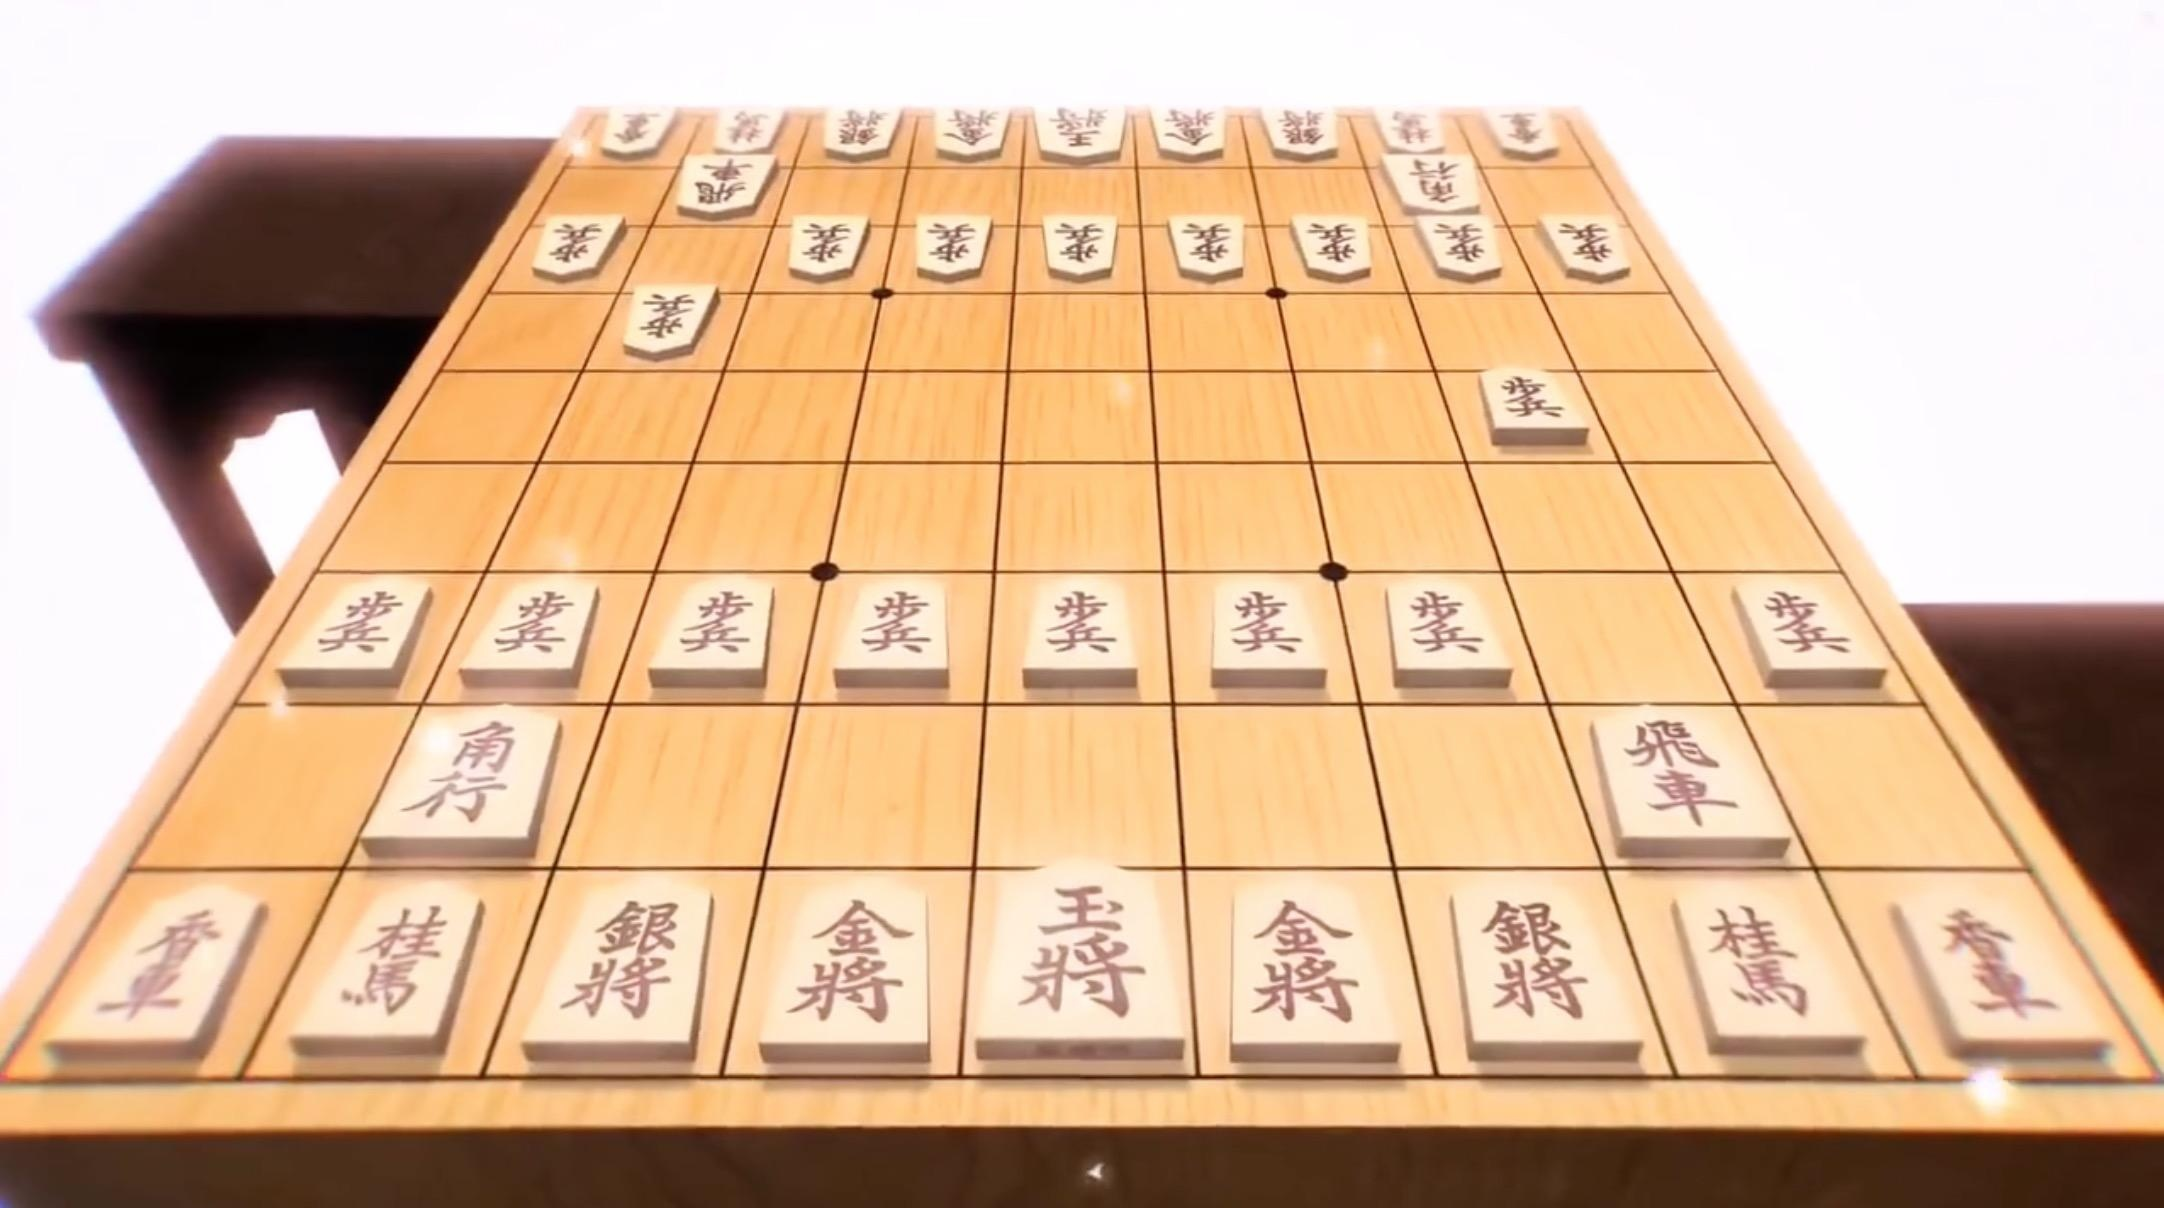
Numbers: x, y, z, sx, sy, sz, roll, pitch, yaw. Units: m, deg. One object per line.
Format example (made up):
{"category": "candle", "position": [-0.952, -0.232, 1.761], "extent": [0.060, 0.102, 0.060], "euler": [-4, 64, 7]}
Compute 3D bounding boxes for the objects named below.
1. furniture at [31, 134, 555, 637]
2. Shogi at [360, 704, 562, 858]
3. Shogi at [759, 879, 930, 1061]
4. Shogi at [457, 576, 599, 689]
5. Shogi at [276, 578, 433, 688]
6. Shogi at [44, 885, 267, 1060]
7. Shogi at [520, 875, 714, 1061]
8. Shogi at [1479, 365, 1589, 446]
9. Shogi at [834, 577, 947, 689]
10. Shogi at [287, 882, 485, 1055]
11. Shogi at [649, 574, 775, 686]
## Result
{"category": "furniture", "position": [-1.533, -0.533, 2.379], "extent": [0.594, 0.899, 0.723], "euler": [23, -53, -17]}
{"category": "Shogi", "position": [-0.786, 0.228, 1.658], "extent": [0.209, 0.213, 0.096], "euler": [1, -53, 0]}
{"category": "Shogi", "position": [-0.269, 0.431, 1.537], "extent": [0.186, 0.209, 0.104], "euler": [3, -52, -2]}
{"category": "Shogi", "position": [-0.754, 0.039, 1.779], "extent": [0.153, 0.175, 0.074], "euler": [2, -53, -1]}
{"category": "Shogi", "position": [-0.996, 0.036, 1.784], "extent": [0.158, 0.183, 0.079], "euler": [2, -53, -1]}
{"category": "Shogi", "position": [-1.091, 0.440, 1.543], "extent": [0.168, 0.212, 0.117], "euler": [9, -52, -7]}
{"category": "Shogi", "position": [-0.543, 0.430, 1.539], "extent": [0.184, 0.214, 0.099], "euler": [3, -52, -2]}
{"category": "Shogi", "position": [0.707, -0.312, 2.029], "extent": [0.147, 0.168, 0.067], "euler": [-1, -53, 1]}
{"category": "Shogi", "position": [-0.257, 0.038, 1.763], "extent": [0.168, 0.144, 0.031], "euler": [0, -52, 0]}
{"category": "Shogi", "position": [-0.811, 0.420, 1.511], "extent": [0.208, 0.174, 0.036], "euler": [1, -49, 1]}
{"category": "Shogi", "position": [-0.493, 0.036, 1.786], "extent": [0.182, 0.139, 0.039], "euler": [-2, -30, 11]}
